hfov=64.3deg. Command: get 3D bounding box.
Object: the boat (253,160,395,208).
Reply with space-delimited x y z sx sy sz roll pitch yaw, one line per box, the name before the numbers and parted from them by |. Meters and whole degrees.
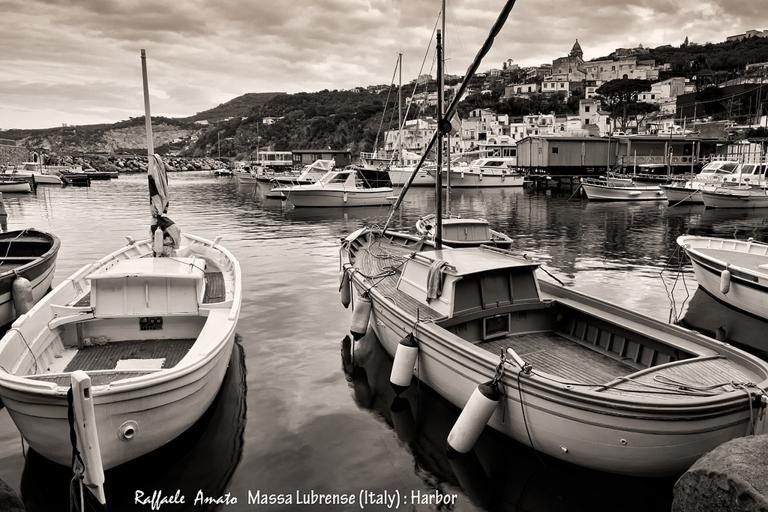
boat | -3.708 -4.838 42.895 8.618 2.868 3.587 0 5 -9
